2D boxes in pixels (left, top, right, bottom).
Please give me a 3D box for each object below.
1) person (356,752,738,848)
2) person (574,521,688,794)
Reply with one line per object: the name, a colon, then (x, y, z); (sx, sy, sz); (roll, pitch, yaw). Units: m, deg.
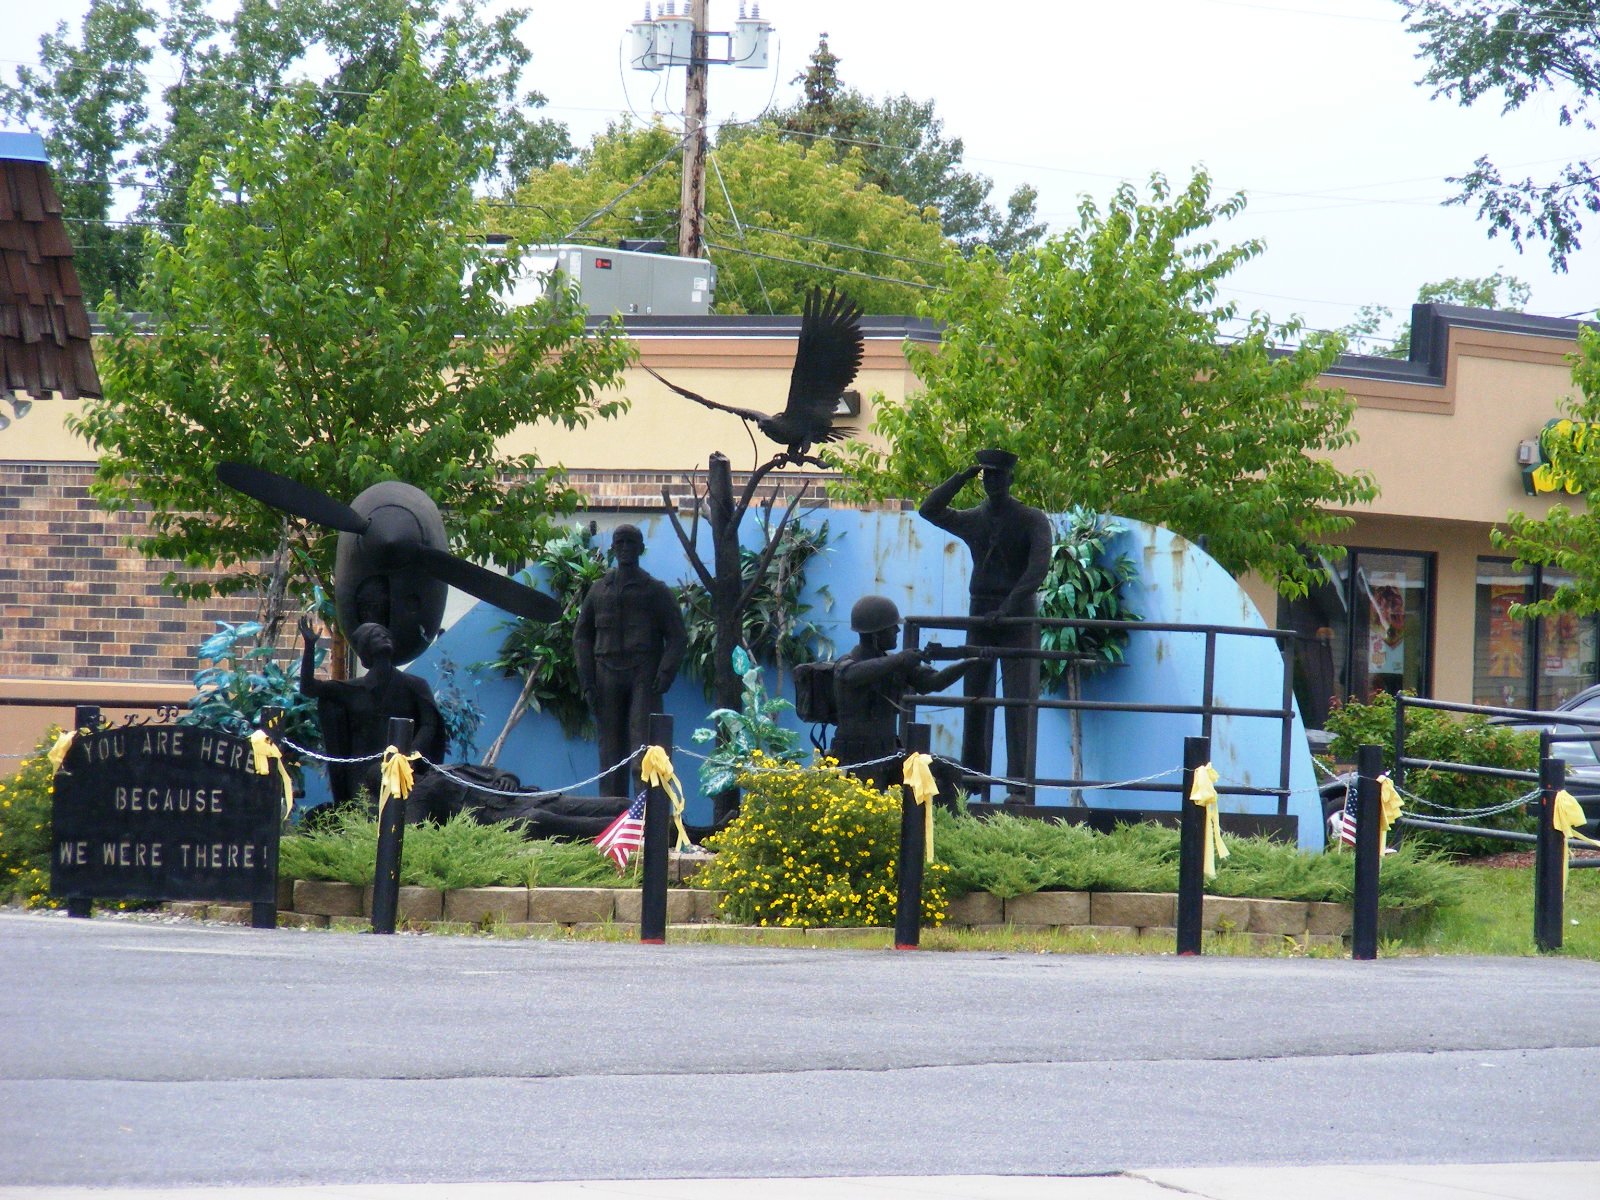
person: (-3.139, 2.021, 43.099); (3.105, 0.717, 1.278); (-1, 11, -11)
person: (-1.904, 0.754, 45.063); (1.112, 3.103, 0.689); (-3, -11, 12)
